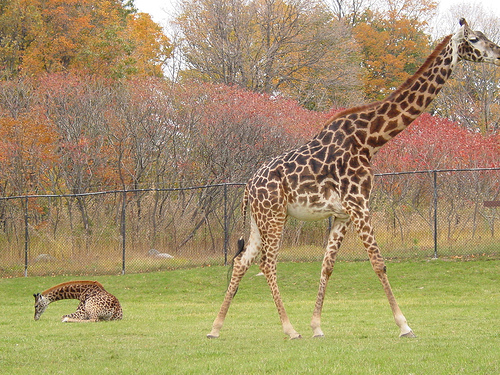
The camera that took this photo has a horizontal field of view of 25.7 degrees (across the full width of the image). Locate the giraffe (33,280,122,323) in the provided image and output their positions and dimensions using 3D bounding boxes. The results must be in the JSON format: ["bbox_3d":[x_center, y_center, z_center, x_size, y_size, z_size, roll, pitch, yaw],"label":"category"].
[{"bbox_3d":[-5.427,3.701,34.777,2.801,1.538,1.285,0,1,7],"label":"giraffe"}]
